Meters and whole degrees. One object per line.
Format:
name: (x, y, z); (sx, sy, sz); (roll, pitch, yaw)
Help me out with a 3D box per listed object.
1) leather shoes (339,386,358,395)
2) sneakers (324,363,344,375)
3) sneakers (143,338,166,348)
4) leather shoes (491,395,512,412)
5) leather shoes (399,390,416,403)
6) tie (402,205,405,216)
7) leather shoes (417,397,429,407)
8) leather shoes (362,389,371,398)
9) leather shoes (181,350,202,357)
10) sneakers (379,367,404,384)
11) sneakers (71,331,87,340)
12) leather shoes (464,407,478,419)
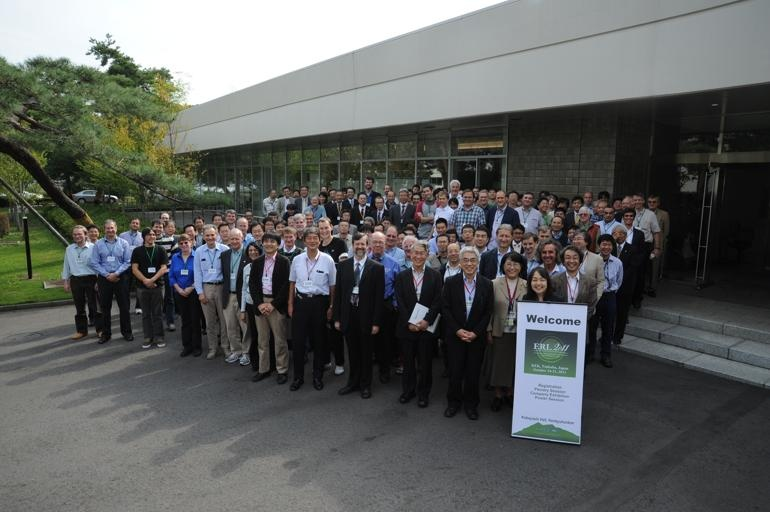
leather shoes: (-0.703, 2.551, 9.684); (0.388, 0.173, 0.131); (-1, 33, -22)
sneakers: (-1.031, 2.359, 10.581); (0.470, 0.167, 0.192); (12, -11, 43)
sneakers: (-5.309, 2.056, 11.834); (0.198, 0.246, 0.567); (-1, -12, 14)
leather shoes: (2.138, 2.698, 9.231); (0.169, 0.196, 0.522); (-2, -5, 38)
leather shoes: (0.431, 2.608, 9.428); (0.141, 0.146, 0.362); (-14, -3, 32)
tie: (0.552, -1.314, 14.564); (0.088, 0.259, 0.036); (6, -1, 36)
leather shoes: (0.709, 2.654, 9.247); (0.226, 0.153, 0.163); (-3, 9, -5)
leather shoes: (-0.331, 2.577, 9.534); (0.183, 0.133, 0.176); (-2, 9, -2)
leather shoes: (-4.275, 2.168, 11.293); (0.483, 0.216, 0.165); (8, -3, -18)
sneakers: (0.152, 2.426, 10.317); (0.195, 0.265, 0.603); (2, -3, 30)
sneakers: (-7.348, 1.949, 12.315); (0.124, 0.156, 0.383); (-7, -13, 17)
leather shoes: (1.553, 2.759, 8.931); (0.241, 0.190, 0.242); (-1, 9, 5)
